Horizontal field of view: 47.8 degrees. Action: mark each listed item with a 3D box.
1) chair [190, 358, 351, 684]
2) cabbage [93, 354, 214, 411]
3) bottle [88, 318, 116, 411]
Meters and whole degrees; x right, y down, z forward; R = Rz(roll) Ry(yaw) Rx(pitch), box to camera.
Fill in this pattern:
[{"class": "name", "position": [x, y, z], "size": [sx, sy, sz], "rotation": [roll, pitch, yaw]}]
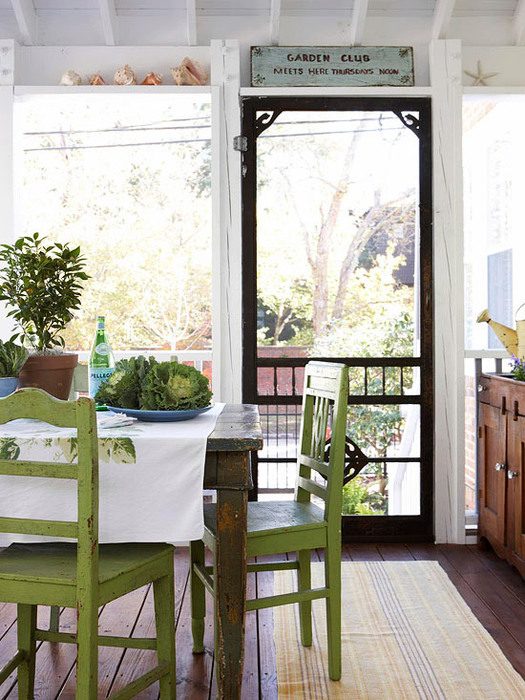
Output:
[{"class": "chair", "position": [0.040, 0.464, 1.716], "size": [0.446, 0.929, 0.449], "rotation": [0, -1, -14]}, {"class": "cabbage", "position": [-0.275, 0.062, 1.582], "size": [0.282, 0.145, 0.197], "rotation": [5, 3, 14]}, {"class": "bottle", "position": [-0.478, 0.035, 1.765], "size": [0.076, 0.256, 0.077], "rotation": [0, 3, 0]}]
